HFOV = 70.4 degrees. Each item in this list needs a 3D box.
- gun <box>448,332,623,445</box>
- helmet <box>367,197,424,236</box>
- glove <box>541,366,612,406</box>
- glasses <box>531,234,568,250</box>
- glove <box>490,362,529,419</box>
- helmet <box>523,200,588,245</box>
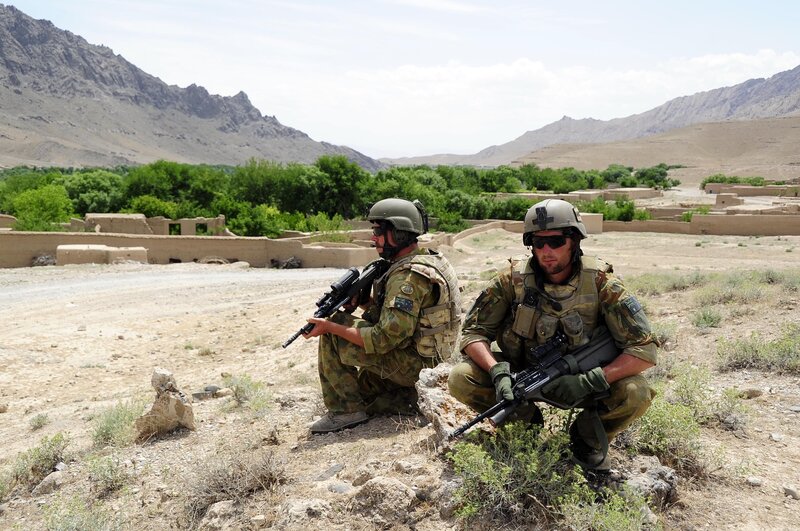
[{"bbox_3d":[1.232,1.028,4.899,1.944,0.664,0.318,-24,2,-27],"label":"gun"},{"bbox_3d":[-0.019,-0.586,6.439,0.709,0.364,0.520,5,7,-12],"label":"helmet"},{"bbox_3d":[1.496,1.053,4.854,0.526,0.291,0.200,-9,-34,-10],"label":"glove"},{"bbox_3d":[1.331,-0.214,5.056,0.298,0.123,0.091,0,10,15],"label":"glasses"},{"bbox_3d":[0.914,1.012,4.851,0.247,0.192,0.574,29,24,4],"label":"glove"},{"bbox_3d":[1.423,-0.429,5.211,0.460,0.286,0.462,2,8,33],"label":"helmet"}]
